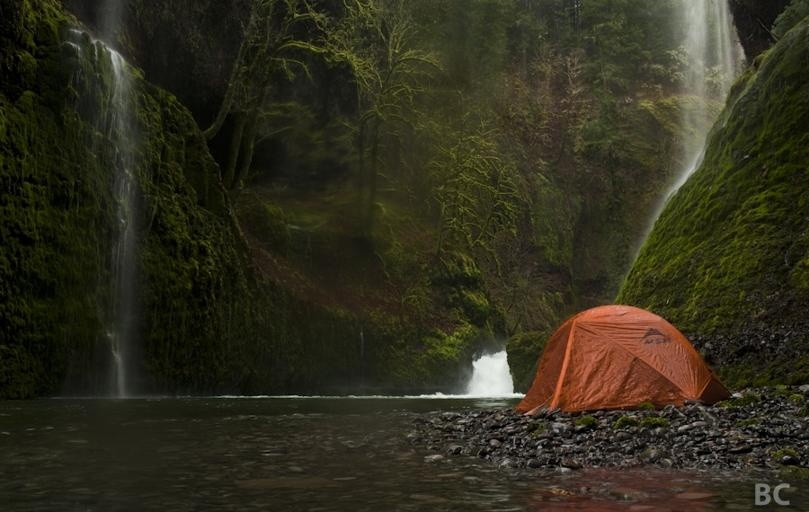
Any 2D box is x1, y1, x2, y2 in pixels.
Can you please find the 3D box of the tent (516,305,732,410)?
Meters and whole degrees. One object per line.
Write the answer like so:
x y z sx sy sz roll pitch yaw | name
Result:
8.165 4.144 32.861 4.949 2.379 5.199 -2 -5 -7 | tent
